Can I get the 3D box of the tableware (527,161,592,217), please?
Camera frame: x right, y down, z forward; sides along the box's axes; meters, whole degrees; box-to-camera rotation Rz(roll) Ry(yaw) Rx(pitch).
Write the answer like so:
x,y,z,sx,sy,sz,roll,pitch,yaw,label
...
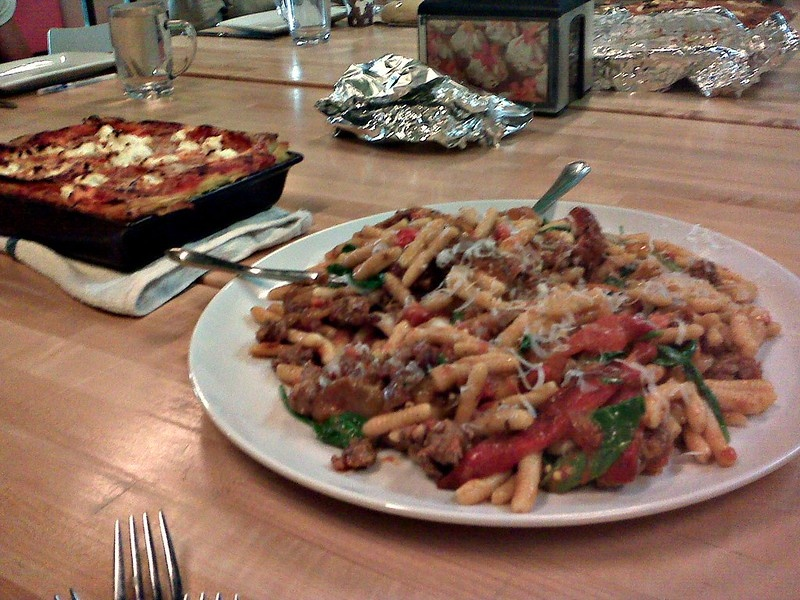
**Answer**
x,y,z,sx,sy,sz,roll,pitch,yaw,label
0.350,-0.244,1.280,0.078,0.027,0.281,29,43,17,tableware
